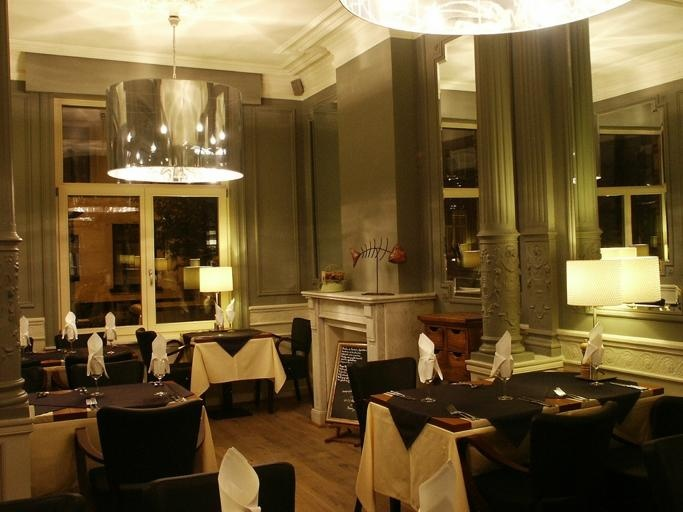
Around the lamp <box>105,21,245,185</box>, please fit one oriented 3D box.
[{"bbox_3d":[-1.379,-1.173,4.598,0.901,1.105,0.945,0,-5,1],"label":"lamp"}]

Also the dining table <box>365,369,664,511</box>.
[{"bbox_3d":[0.990,1.065,3.226,1.040,0.536,0.733,0,-2,-34],"label":"dining table"}]

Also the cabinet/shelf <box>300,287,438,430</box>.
[{"bbox_3d":[0.274,0.913,5.259,0.683,1.409,1.420,3,-4,-35],"label":"cabinet/shelf"}]

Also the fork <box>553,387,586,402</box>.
[{"bbox_3d":[1.384,0.859,3.545,0.047,0.033,0.209,0,1,-15],"label":"fork"}]

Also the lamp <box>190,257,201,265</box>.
[{"bbox_3d":[-1.908,0.072,7.503,0.090,0.073,0.093,-2,-3,39],"label":"lamp"}]

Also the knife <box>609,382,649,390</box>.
[{"bbox_3d":[1.866,0.851,3.736,0.220,0.010,0.061,1,2,33],"label":"knife"}]

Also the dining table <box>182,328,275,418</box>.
[{"bbox_3d":[-1.306,1.365,6.862,0.997,0.822,0.998,2,-5,-24],"label":"dining table"}]
